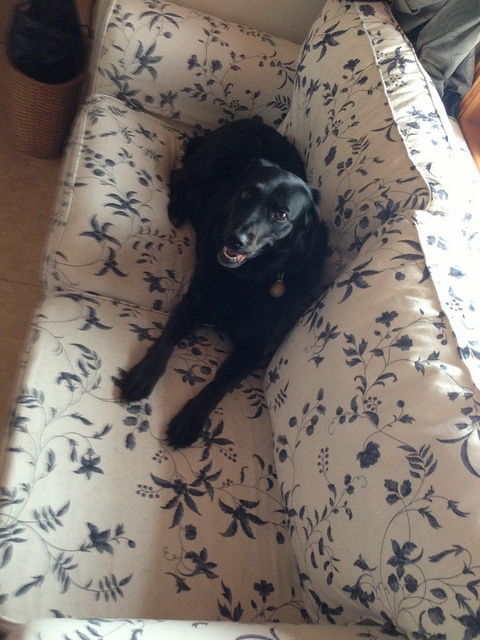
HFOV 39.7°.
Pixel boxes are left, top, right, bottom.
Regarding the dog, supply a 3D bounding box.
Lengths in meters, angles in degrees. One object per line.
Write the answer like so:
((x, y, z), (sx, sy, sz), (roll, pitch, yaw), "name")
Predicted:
((0.003, -0.091, 1.680), (0.435, 0.473, 0.810), (41, 49, -29), "dog")

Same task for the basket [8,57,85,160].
((-0.621, -0.642, 2.013), (0.249, 0.276, 0.203), (-11, 61, -30), "basket")
